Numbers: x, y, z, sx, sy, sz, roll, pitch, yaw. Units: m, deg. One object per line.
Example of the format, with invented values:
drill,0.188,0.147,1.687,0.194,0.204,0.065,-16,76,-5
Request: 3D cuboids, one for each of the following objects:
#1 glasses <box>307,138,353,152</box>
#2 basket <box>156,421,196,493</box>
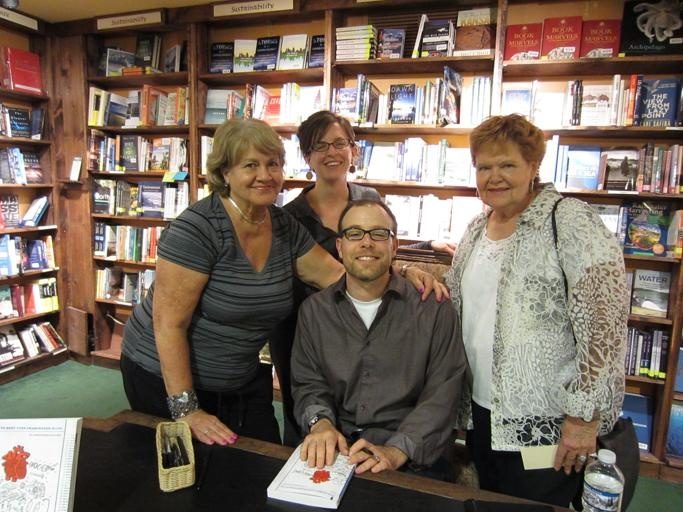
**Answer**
glasses,-0.058,-0.627,2.716,0.241,0.075,0.077,0,5,-12
basket,-0.604,0.720,1.732,0.128,0.077,0.237,3,29,-24
